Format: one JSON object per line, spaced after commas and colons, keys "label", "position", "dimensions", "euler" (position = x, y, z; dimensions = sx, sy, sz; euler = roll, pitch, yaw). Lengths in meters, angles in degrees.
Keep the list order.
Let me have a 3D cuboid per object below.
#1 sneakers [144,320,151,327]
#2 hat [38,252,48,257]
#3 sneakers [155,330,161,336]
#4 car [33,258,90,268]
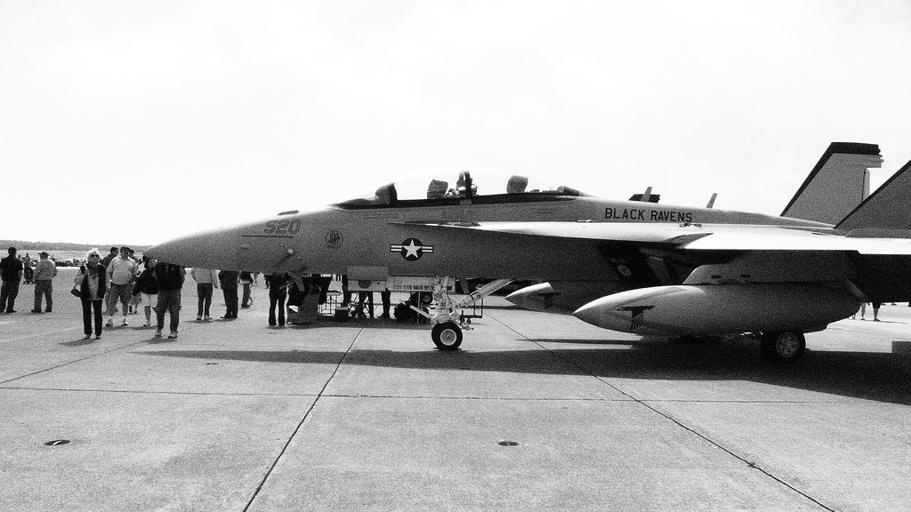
{"label": "sneakers", "position": [-8.011, 1.748, 17.282], "dimensions": [0.139, 0.148, 0.399], "euler": [1, -12, -9]}
{"label": "hat", "position": [-12.504, -0.048, 20.191], "dimensions": [0.324, 0.062, 0.268], "euler": [-2, -27, -3]}
{"label": "sneakers", "position": [-6.760, 1.744, 15.105], "dimensions": [0.146, 0.109, 0.131], "euler": [0, -1, 11]}
{"label": "car", "position": [-28.913, 0.503, 48.946], "dimensions": [2.407, 0.554, 1.487], "euler": [-3, -1, 3]}
